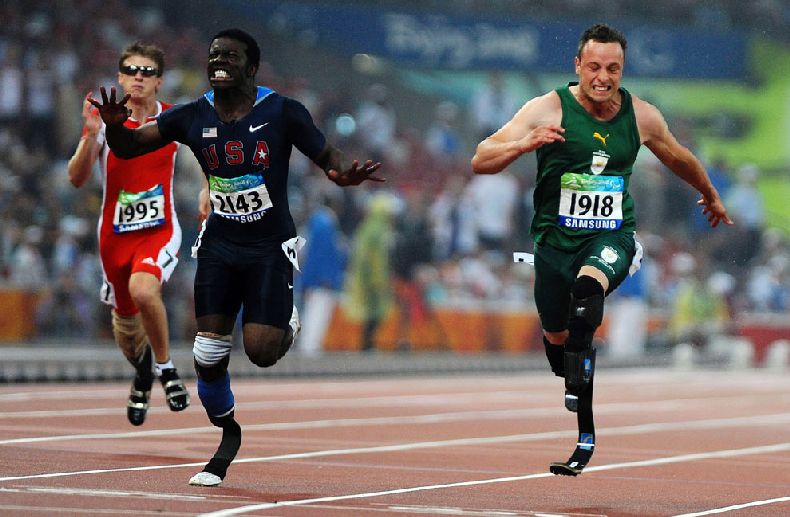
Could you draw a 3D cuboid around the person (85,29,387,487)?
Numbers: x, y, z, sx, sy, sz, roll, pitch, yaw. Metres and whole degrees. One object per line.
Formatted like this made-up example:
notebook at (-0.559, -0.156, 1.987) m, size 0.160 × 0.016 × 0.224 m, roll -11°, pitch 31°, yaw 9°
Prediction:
person at (-1.052, -0.031, 6.125) m, size 1.596 × 2.945 × 0.452 m, roll 0°, pitch -2°, yaw 6°
